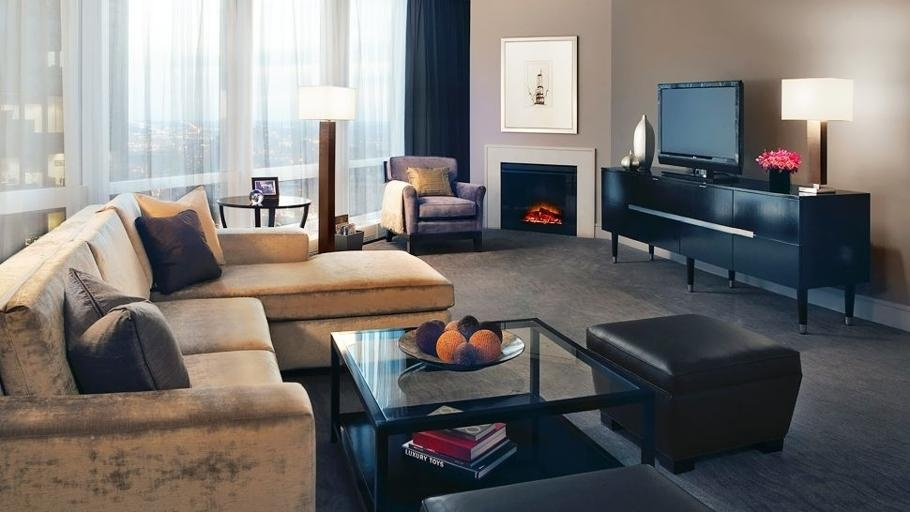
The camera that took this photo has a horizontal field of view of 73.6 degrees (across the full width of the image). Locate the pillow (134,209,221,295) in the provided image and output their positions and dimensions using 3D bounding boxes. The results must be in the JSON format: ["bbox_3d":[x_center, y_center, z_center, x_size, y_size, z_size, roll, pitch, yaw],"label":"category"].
[{"bbox_3d":[-1.976,-0.043,4.350,0.332,0.512,0.647,12,14,11],"label":"pillow"}]

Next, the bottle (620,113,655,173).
[{"bbox_3d":[2.004,-1.226,6.631,0.337,0.570,0.472,1,16,18],"label":"bottle"}]

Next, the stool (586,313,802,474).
[{"bbox_3d":[1.399,0.693,3.689,0.995,0.638,0.972,-5,11,-17],"label":"stool"}]

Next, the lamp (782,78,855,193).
[{"bbox_3d":[2.974,-1.038,5.042,0.394,0.838,0.431,-12,17,-26],"label":"lamp"}]

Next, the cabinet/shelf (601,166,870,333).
[{"bbox_3d":[2.626,-0.287,6.256,0.771,0.983,3.177,-8,13,-14],"label":"cabinet/shelf"}]

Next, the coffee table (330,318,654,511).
[{"bbox_3d":[0.046,0.603,3.297,1.124,0.538,1.099,-3,10,-22],"label":"coffee table"}]

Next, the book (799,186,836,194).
[{"bbox_3d":[2.901,-0.530,4.881,0.251,0.059,0.184,6,19,30],"label":"book"}]

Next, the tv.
[{"bbox_3d":[2.547,-1.263,6.094,0.397,0.948,1.182,-10,16,-17],"label":"tv"}]

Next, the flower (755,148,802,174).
[{"bbox_3d":[2.702,-0.794,5.100,0.333,0.171,0.326,-3,12,-13],"label":"flower"}]

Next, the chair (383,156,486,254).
[{"bbox_3d":[-0.326,-0.684,7.640,1.142,1.035,1.066,-5,14,-26],"label":"chair"}]
